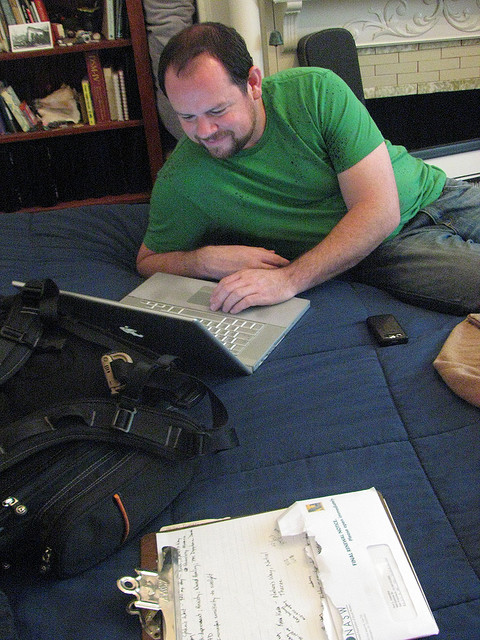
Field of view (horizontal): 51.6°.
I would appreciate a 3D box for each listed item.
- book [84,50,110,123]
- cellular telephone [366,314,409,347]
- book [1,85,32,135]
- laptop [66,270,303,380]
[{"bbox_3d":[-0.704,-1.142,2.440,0.069,0.315,0.043,-13,31,-11],"label":"book"},{"bbox_3d":[0.302,0.021,1.027,0.056,0.020,0.096,-6,29,-3],"label":"cellular telephone"},{"bbox_3d":[-1.088,-1.026,2.419,0.051,0.202,0.210,-35,39,-16],"label":"book"},{"bbox_3d":[-0.105,0.055,1.019,0.371,0.378,0.177,-4,60,15],"label":"laptop"}]
